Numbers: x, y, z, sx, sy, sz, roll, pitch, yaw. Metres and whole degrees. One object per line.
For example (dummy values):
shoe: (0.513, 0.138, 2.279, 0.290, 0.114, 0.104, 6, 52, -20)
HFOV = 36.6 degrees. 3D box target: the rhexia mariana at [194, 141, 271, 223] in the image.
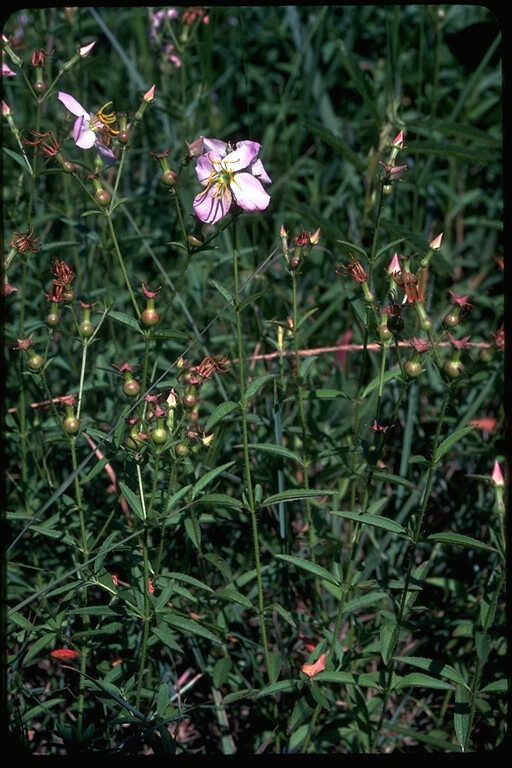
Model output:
rhexia mariana: (-0.044, -0.340, 1.286, 0.126, 0.121, 0.134, -6, 35, 3)

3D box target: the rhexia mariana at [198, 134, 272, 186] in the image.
rhexia mariana: (-0.037, -0.363, 1.315, 0.096, 0.036, 0.087, 26, 26, 11)
